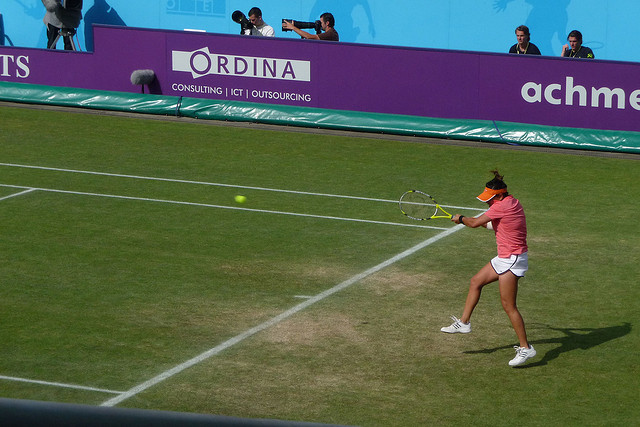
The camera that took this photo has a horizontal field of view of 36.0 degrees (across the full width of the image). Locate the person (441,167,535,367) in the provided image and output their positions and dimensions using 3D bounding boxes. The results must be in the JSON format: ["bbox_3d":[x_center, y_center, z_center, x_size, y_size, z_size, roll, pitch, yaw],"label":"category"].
[{"bbox_3d":[2.420,0.766,13.665,1.142,2.688,0.516,6,14,40],"label":"person"}]

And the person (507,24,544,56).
[{"bbox_3d":[5.123,-4.231,24.551,1.050,0.636,0.541,10,12,37],"label":"person"}]

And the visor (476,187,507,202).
[{"bbox_3d":[2.359,-0.262,13.614,0.395,0.092,0.199,-12,4,-6],"label":"visor"}]

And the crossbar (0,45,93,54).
[{"bbox_3d":[-7.722,-4.586,27.837,2.773,0.278,0.406,1,9,15],"label":"crossbar"}]

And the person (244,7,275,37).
[{"bbox_3d":[-1.640,-5.082,26.472,0.701,0.711,1.035,-3,9,-4],"label":"person"}]

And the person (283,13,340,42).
[{"bbox_3d":[-0.227,-4.829,25.978,0.922,0.749,1.972,-10,12,-42],"label":"person"}]

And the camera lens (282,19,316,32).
[{"bbox_3d":[-0.535,-5.004,26.392,0.809,0.166,0.387,-1,8,-11],"label":"camera lens"}]
